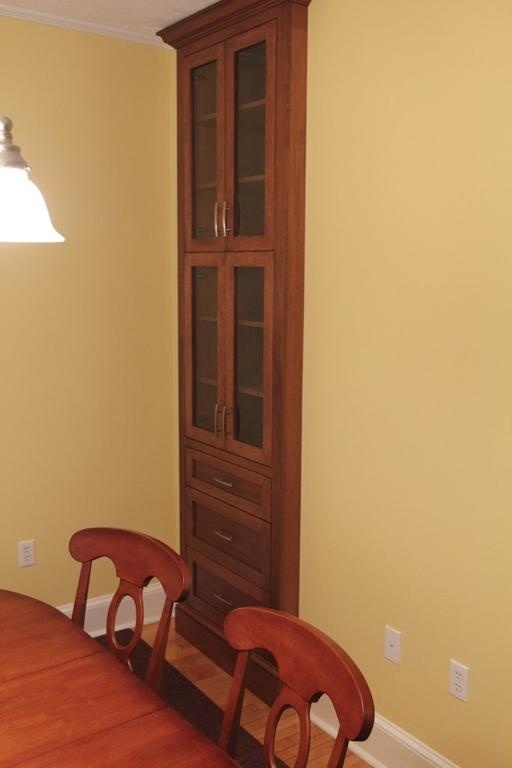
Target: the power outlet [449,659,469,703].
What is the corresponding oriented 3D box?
[{"bbox_3d":[0.530,0.777,1.598,0.009,0.101,0.066,-8,5,-27],"label":"power outlet"}]
